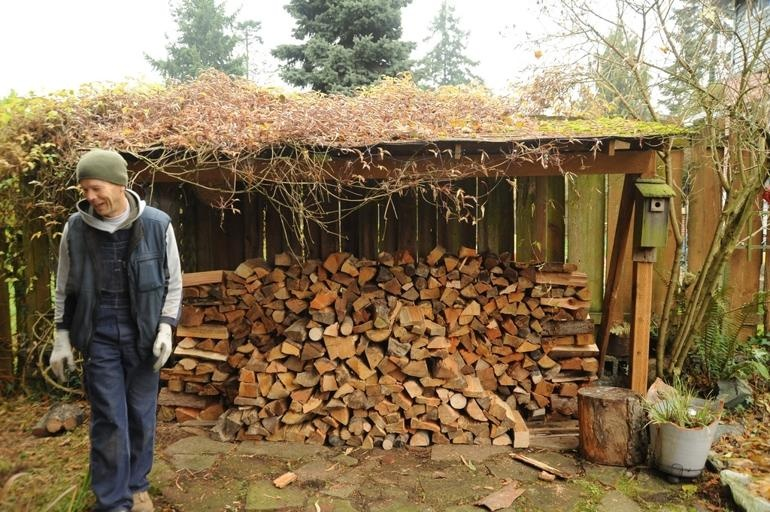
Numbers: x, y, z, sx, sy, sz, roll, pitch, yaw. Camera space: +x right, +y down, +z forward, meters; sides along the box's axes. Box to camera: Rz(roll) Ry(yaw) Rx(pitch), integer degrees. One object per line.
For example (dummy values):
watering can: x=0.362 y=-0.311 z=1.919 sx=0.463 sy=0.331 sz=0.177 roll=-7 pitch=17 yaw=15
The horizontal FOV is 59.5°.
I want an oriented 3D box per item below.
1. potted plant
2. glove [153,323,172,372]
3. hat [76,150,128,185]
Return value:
potted plant: x=3.008 y=1.855 z=7.154 sx=0.735 sy=0.929 sz=0.890 roll=3 pitch=-13 yaw=7
glove: x=-2.050 y=0.845 z=6.258 sx=0.204 sy=0.400 sz=0.116 roll=8 pitch=2 yaw=12
hat: x=-2.577 y=-0.767 z=6.092 sx=0.353 sy=0.288 sz=0.356 roll=-9 pitch=0 yaw=23
